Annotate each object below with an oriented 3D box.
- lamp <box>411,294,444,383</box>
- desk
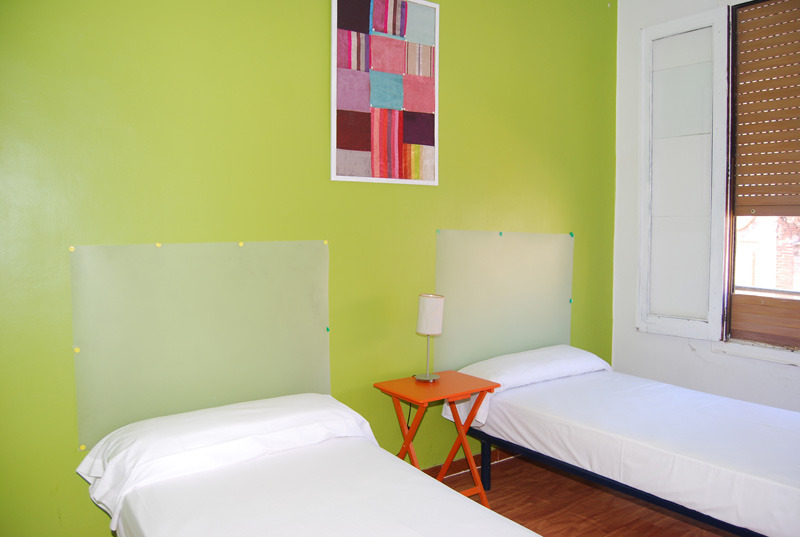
[{"bbox_3d":[0.205,0.489,3.990,0.206,0.621,0.395,-2,5,2],"label":"lamp"},{"bbox_3d":[0.252,1.230,3.810,0.646,0.799,0.560,0,-1,-30],"label":"desk"}]
